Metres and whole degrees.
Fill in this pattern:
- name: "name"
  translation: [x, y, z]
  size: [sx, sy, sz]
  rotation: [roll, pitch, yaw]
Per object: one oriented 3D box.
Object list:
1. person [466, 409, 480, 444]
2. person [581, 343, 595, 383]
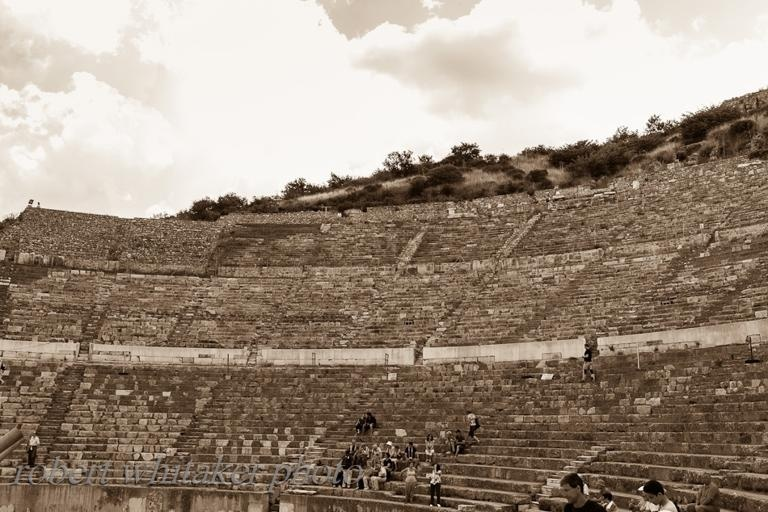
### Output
- name: "person"
  translation: [3.387, 6.506, 36.284]
  size: [0.597, 1.443, 0.580]
  rotation: [-17, 24, -39]
- name: "person"
  translation: [8.100, 4.221, 37.787]
  size: [0.512, 1.654, 1.352]
  rotation: [0, -23, 11]
